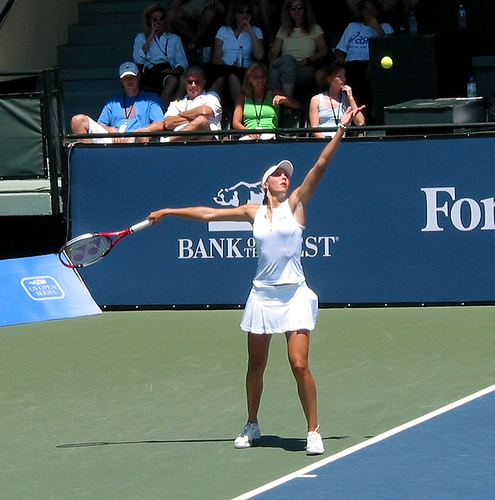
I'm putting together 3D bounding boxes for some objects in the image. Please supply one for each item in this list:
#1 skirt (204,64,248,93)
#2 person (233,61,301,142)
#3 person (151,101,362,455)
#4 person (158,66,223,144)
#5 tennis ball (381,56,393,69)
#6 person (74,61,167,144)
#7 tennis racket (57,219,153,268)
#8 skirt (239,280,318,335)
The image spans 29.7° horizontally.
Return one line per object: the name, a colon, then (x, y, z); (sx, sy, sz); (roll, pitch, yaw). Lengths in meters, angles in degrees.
skirt: (-0.323, -2.454, 13.209); (0.305, 0.343, 0.866); (-8, 10, -38)
person: (0.178, -1.736, 11.430); (0.784, 1.094, 0.823); (4, 14, 17)
person: (0.195, 0.182, 6.505); (0.915, 2.246, 0.945); (1, 8, 21)
person: (-0.725, -1.656, 11.274); (0.633, 1.184, 0.797); (-3, -3, 43)
tennis ball: (1.663, -2.238, 11.095); (0.121, 0.128, 0.075); (5, 11, 0)
person: (-1.458, -1.694, 10.567); (1.048, 0.944, 2.145); (-3, 8, -5)
tennis racket: (-1.251, -0.059, 8.625); (0.877, 0.271, 0.043); (-22, 38, 25)
skirt: (0.248, 0.366, 6.301); (0.527, 0.398, 0.305); (-3, -6, 28)
